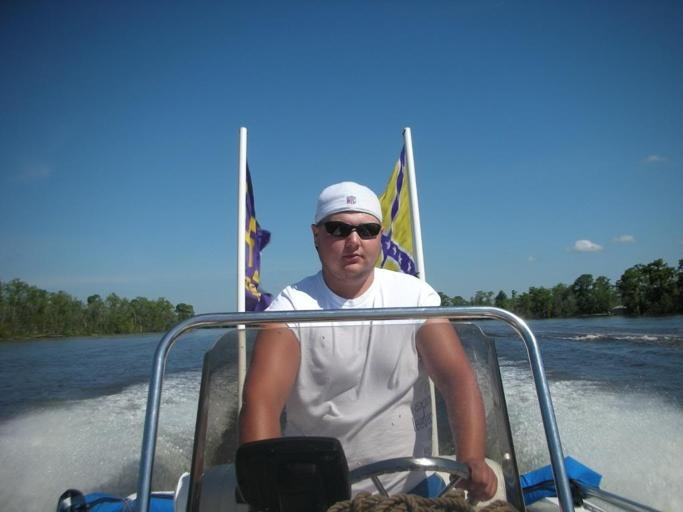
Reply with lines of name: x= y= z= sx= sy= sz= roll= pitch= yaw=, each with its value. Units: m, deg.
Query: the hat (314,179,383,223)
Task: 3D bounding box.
hat: x=0.043 y=-0.337 z=2.808 sx=0.400 sy=0.269 sz=0.377 roll=0 pitch=-3 yaw=-33

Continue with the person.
person: x=0.055 y=0.299 z=1.655 sx=0.742 sy=1.114 sz=0.635 roll=-2 pitch=-7 yaw=-5
